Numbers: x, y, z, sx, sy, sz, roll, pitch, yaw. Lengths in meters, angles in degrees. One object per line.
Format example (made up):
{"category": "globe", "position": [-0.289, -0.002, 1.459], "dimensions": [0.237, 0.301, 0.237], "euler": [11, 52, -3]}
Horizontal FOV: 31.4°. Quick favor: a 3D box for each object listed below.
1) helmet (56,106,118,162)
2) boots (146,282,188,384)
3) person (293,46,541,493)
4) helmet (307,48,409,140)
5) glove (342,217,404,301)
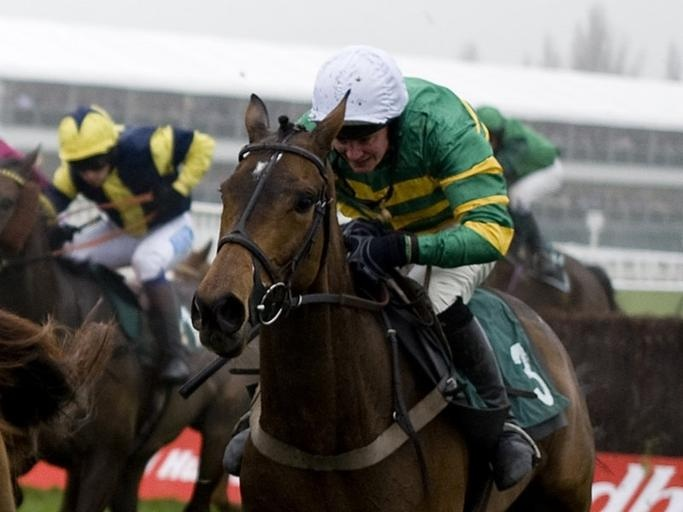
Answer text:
{"category": "helmet", "position": [-1.450, -0.706, 7.032], "dimensions": [0.347, 0.322, 0.134], "euler": [4, 12, -13]}
{"category": "boots", "position": [-1.004, 0.431, 7.034], "dimensions": [0.160, 0.570, 0.283], "euler": [-5, 16, -44]}
{"category": "person", "position": [0.380, 0.025, 5.766], "dimensions": [1.227, 1.942, 0.686], "euler": [6, 12, 1]}
{"category": "helmet", "position": [0.081, -0.759, 5.509], "dimensions": [0.326, 0.230, 0.414], "euler": [-3, 10, 16]}
{"category": "glove", "position": [0.146, 0.029, 5.643], "dimensions": [0.318, 0.318, 0.126], "euler": [52, -12, 20]}
